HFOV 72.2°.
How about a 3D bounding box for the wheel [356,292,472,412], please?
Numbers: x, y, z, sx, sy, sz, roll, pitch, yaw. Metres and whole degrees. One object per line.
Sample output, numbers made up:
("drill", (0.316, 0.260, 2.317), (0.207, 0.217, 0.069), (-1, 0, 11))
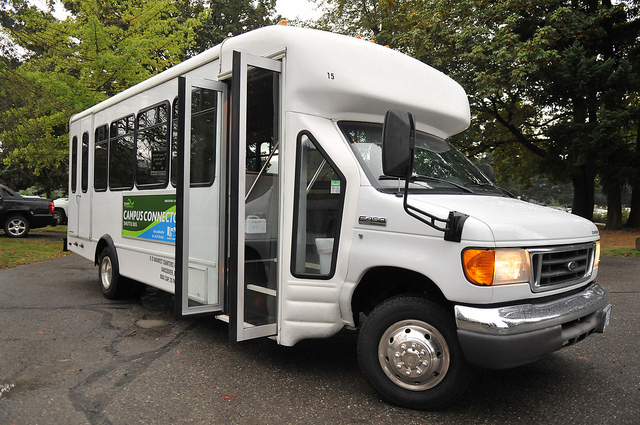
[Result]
("wheel", (1.071, 1.554, 4.848), (1.030, 1.085, 0.439), (-19, -6, 17))

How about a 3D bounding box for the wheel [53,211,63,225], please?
("wheel", (-13.698, 0.259, 23.078), (0.304, 0.728, 1.229), (-4, 10, -26))

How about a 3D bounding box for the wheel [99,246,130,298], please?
("wheel", (-3.912, 1.136, 8.427), (0.897, 0.944, 0.316), (-13, -12, 42))

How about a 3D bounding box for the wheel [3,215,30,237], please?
("wheel", (-12.578, 0.541, 18.213), (0.770, 0.811, 0.278), (-9, 4, -42))
